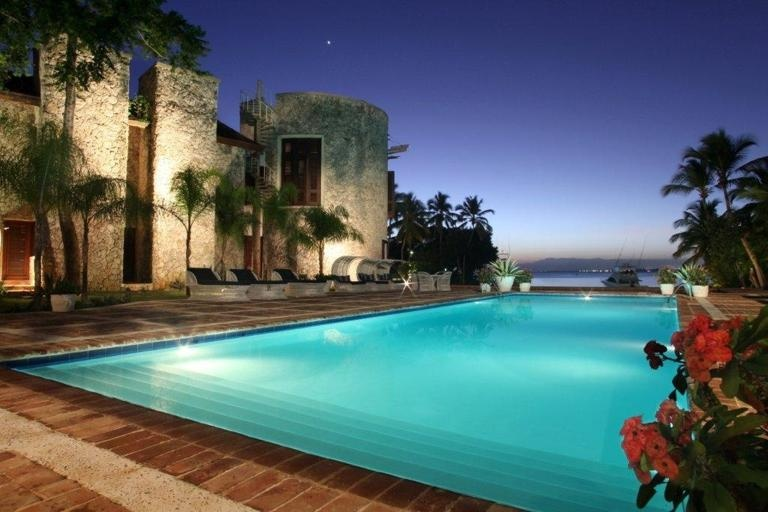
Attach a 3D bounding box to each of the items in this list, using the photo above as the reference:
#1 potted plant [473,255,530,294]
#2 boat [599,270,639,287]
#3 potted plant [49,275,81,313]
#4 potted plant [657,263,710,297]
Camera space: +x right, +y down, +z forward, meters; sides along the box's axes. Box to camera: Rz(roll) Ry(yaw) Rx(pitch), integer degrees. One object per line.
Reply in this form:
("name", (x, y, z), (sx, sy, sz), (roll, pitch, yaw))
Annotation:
("potted plant", (5.036, 0.801, 20.149), (1.756, 1.159, 1.710), (4, -5, -37))
("boat", (16.087, 1.299, 31.349), (1.809, 1.225, 4.217), (1, -1, 19))
("potted plant", (-7.695, 0.858, 11.291), (0.719, 1.062, 0.871), (3, -3, -41))
("potted plant", (11.528, 0.882, 17.845), (1.645, 1.192, 2.119), (0, -1, 35))
